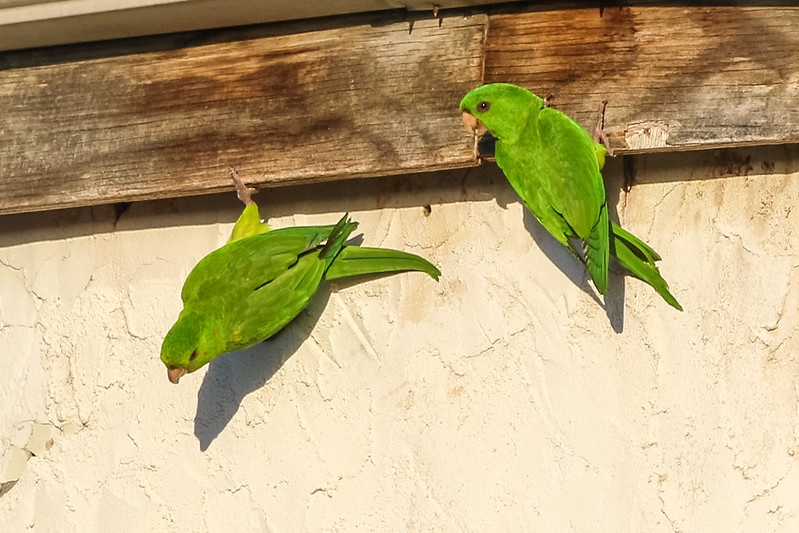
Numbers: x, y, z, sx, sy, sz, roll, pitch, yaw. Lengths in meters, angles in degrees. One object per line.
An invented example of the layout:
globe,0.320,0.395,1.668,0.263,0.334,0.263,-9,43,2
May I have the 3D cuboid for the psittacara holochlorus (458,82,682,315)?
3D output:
psittacara holochlorus,0.515,-0.231,4.351,0.638,0.737,0.287,-9,22,-7
